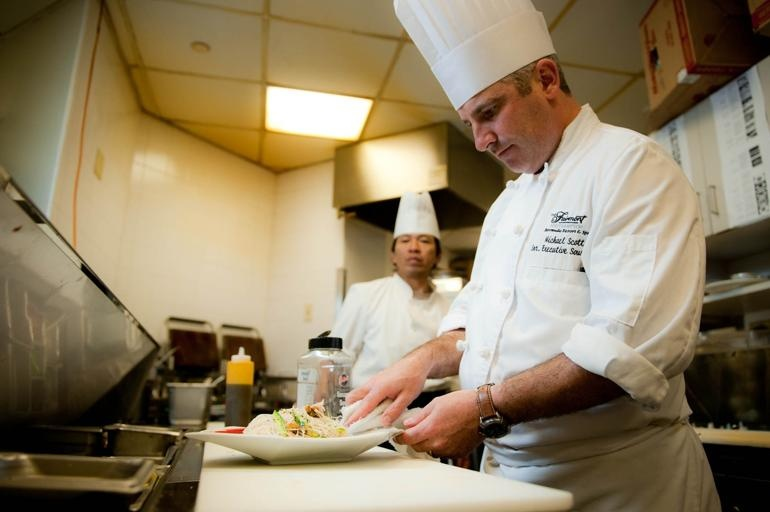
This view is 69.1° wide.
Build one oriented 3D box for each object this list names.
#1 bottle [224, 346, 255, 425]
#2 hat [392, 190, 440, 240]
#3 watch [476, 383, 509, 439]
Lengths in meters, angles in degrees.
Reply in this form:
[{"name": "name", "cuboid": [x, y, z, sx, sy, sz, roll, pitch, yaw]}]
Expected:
[{"name": "bottle", "cuboid": [-0.574, 0.508, 2.217, 0.103, 0.313, 0.262, 3, -14, -15]}, {"name": "hat", "cuboid": [0.192, -0.234, 3.662, 0.293, 0.312, 0.273, 7, -8, -18]}, {"name": "watch", "cuboid": [0.299, 0.429, 1.550, 0.075, 0.116, 0.119, -18, 7, 1]}]
